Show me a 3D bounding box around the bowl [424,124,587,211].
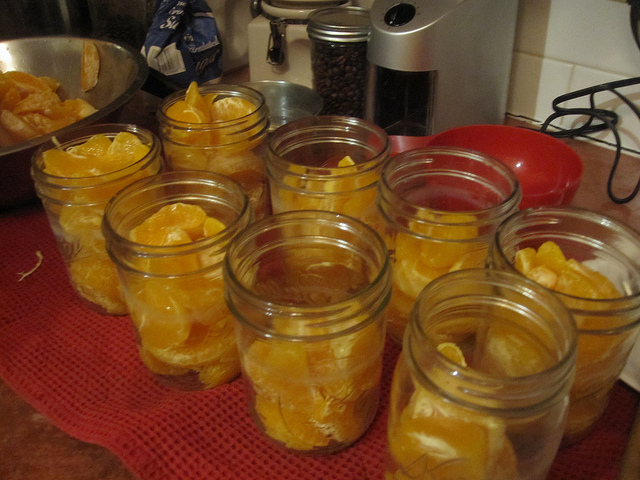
[{"bbox_3d":[0.283,-0.112,0.749,0.167,0.084,0.169,-2,39,1],"label":"bowl"}]

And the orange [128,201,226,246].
[{"bbox_3d":[-0.174,-0.021,0.600,0.083,0.036,0.095,-12,-5,15],"label":"orange"}]

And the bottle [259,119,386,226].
[{"bbox_3d":[0.014,-0.069,0.705,0.144,0.126,0.148,15,49,16],"label":"bottle"}]

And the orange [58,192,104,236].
[{"bbox_3d":[-0.281,-0.032,0.620,0.033,0.033,0.032,-21,71,-14],"label":"orange"}]

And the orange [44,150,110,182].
[{"bbox_3d":[-0.293,-0.090,0.623,0.055,0.022,0.054,-15,38,-41],"label":"orange"}]

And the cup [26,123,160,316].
[{"bbox_3d":[-0.271,-0.023,0.633,0.141,0.204,0.144,0,40,0],"label":"cup"}]

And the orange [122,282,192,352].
[{"bbox_3d":[-0.175,0.103,0.574,0.073,0.068,0.111,2,76,-29],"label":"orange"}]

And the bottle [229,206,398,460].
[{"bbox_3d":[-0.009,0.095,0.518,0.174,0.240,0.162,-1,40,1],"label":"bottle"}]

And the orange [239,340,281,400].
[{"bbox_3d":[-0.049,0.123,0.522,0.048,0.051,0.054,-2,45,0],"label":"orange"}]

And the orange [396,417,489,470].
[{"bbox_3d":[0.102,0.167,0.441,0.067,0.060,0.039,6,41,8],"label":"orange"}]

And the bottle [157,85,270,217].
[{"bbox_3d":[-0.134,-0.108,0.657,0.115,0.168,0.109,-1,43,1],"label":"bottle"}]

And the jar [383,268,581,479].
[{"bbox_3d":[0.144,0.118,0.457,0.143,0.210,0.137,-2,42,1],"label":"jar"}]

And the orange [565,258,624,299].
[{"bbox_3d":[0.271,0.039,0.515,0.041,0.037,0.042,47,26,22],"label":"orange"}]

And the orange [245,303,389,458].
[{"bbox_3d":[-0.008,0.128,0.570,0.160,0.168,0.160,2,15,11],"label":"orange"}]

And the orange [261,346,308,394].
[{"bbox_3d":[-0.033,0.116,0.487,0.045,0.044,0.044,0,29,0],"label":"orange"}]

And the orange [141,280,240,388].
[{"bbox_3d":[-0.150,0.105,0.614,0.137,0.126,0.104,2,3,15],"label":"orange"}]

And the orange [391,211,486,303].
[{"bbox_3d":[0.121,0.004,0.609,0.099,0.097,0.092,-7,49,-1],"label":"orange"}]

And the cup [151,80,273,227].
[{"bbox_3d":[-0.134,-0.103,0.652,0.142,0.205,0.134,1,40,-1],"label":"cup"}]

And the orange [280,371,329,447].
[{"bbox_3d":[-0.020,0.175,0.534,0.067,0.076,0.072,-2,82,2],"label":"orange"}]

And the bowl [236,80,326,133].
[{"bbox_3d":[-0.064,-0.213,0.843,0.123,0.045,0.124,0,40,0],"label":"bowl"}]

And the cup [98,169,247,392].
[{"bbox_3d":[-0.155,0.042,0.566,0.133,0.195,0.137,1,45,-1],"label":"cup"}]

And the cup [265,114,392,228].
[{"bbox_3d":[0.012,-0.092,0.641,0.149,0.149,0.153,-1,43,1],"label":"cup"}]

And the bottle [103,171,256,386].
[{"bbox_3d":[-0.164,0.101,0.593,0.113,0.108,0.159,-8,80,-37],"label":"bottle"}]
